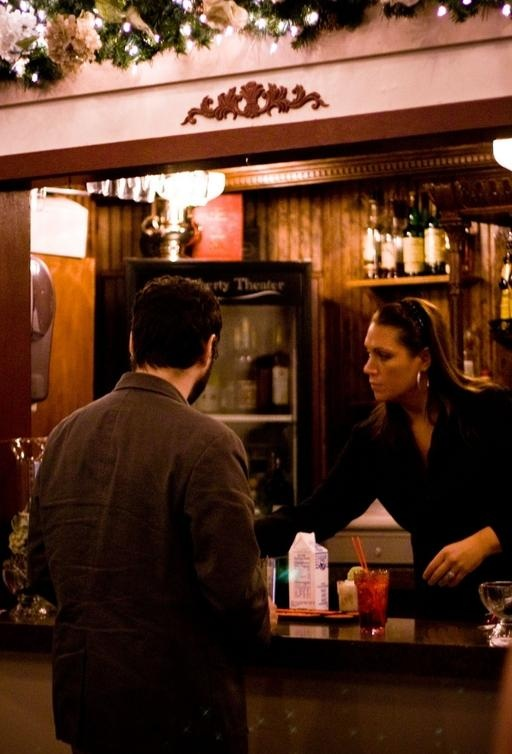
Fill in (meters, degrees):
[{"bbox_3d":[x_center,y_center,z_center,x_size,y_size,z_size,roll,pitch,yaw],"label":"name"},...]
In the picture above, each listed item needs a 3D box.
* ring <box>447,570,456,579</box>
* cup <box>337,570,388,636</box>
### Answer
[{"bbox_3d":[0.526,0.524,1.825,0.013,0.021,0.020,0,-10,23],"label":"ring"},{"bbox_3d":[0.288,0.566,1.704,0.110,0.200,0.127,-2,-12,9],"label":"cup"}]
